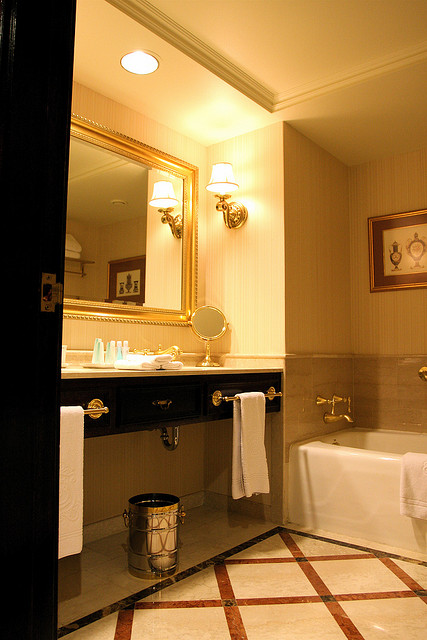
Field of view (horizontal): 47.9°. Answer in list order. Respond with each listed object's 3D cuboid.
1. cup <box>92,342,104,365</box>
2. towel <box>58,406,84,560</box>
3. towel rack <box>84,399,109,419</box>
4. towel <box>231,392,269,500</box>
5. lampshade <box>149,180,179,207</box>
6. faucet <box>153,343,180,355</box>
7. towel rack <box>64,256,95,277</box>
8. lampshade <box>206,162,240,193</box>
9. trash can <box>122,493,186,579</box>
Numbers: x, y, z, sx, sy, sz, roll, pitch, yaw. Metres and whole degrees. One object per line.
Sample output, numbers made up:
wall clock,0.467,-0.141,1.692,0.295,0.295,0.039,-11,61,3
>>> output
cup,-0.541,0.154,2.262,0.053,0.097,0.071,-1,-1,-15
towel,-0.427,0.486,1.456,0.072,0.439,0.215,-1,-1,-14
towel rack,-0.400,0.301,1.638,0.057,0.024,0.077,-1,1,-33
towel,0.188,0.603,2.399,0.147,0.549,0.177,3,-2,21
lampshade,-0.303,-0.769,2.953,0.161,0.158,0.160,-16,23,-33
faucet,-0.265,0.168,2.733,0.135,0.054,0.307,-1,0,-17
towel rack,-0.673,-0.266,2.432,0.013,0.095,0.168,-2,-1,39
lampshade,0.057,-0.837,2.899,0.164,0.110,0.175,-1,3,2
trash can,-0.251,0.914,2.060,0.242,0.310,0.233,1,-1,-34
